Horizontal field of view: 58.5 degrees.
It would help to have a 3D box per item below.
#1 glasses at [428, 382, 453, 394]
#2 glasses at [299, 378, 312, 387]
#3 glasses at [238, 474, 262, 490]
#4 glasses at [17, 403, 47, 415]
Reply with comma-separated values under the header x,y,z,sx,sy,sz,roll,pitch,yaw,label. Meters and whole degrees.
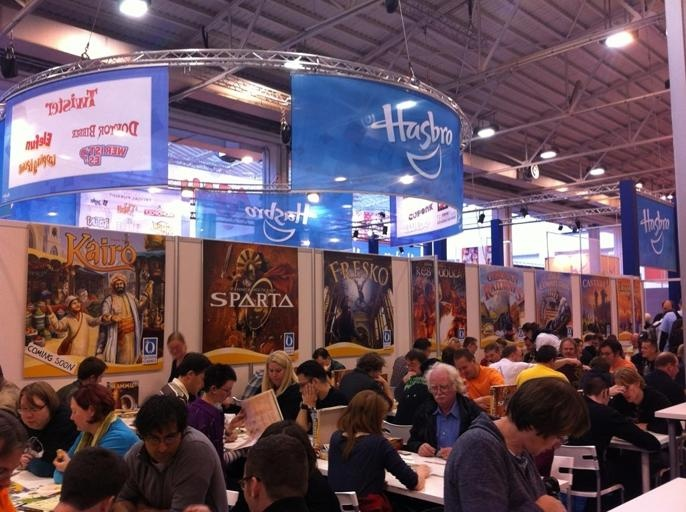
x,y,z,sx,sy,sz,roll,pitch,yaw,label
0.816,1.093,5.037,0.108,0.055,0.143,-6,-20,25,glasses
-0.354,1.170,5.645,0.082,0.045,0.087,-9,-22,29,glasses
-0.479,1.172,3.182,0.127,0.074,0.023,-7,-10,40,glasses
-2.273,1.136,4.520,0.195,0.105,0.071,2,-8,-17,glasses
